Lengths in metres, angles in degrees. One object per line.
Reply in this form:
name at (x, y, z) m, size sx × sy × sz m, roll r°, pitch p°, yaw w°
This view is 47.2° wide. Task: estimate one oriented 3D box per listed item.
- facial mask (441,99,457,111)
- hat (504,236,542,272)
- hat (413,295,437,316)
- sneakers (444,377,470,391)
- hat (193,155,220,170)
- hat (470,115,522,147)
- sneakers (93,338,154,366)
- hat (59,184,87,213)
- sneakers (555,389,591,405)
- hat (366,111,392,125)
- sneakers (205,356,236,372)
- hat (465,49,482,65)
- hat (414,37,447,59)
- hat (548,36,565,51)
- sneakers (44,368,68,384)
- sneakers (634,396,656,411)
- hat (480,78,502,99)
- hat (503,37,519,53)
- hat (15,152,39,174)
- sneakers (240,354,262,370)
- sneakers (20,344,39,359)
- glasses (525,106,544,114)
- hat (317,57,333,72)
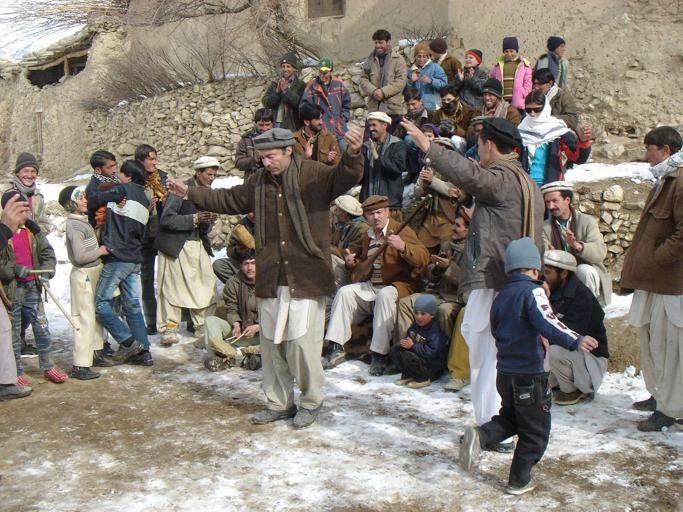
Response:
facial mask at (1.493, -2.131, 11.052) m, size 0.089 × 0.138 × 0.239 m, roll -9°, pitch 14°, yaw -40°
hat at (1.521, -0.021, 6.580) m, size 0.290 × 0.272 × 0.268 m, roll -2°, pitch 1°, yaw -34°
hat at (0.933, 0.514, 8.421) m, size 0.242 × 0.193 × 0.181 m, roll 19°, pitch 7°, yaw 39°
sneakers at (1.195, 1.325, 8.145) m, size 0.263 × 0.116 × 0.109 m, roll 1°, pitch 6°, yaw -13°
hat at (-1.699, -1.160, 9.697) m, size 0.284 × 0.142 × 0.305 m, roll -5°, pitch 6°, yaw -19°
hat at (1.414, -1.175, 7.087) m, size 0.258 × 0.091 × 0.301 m, roll 17°, pitch 22°, yaw -14°
sneakers at (-2.468, 1.104, 8.960) m, size 0.678 × 0.295 × 0.249 m, roll 6°, pitch -1°, yaw -6°
hat at (-2.942, -0.625, 8.538) m, size 0.263 × 0.298 × 0.306 m, roll -4°, pitch 11°, yaw -18°
sneakers at (2.303, 1.393, 7.857) m, size 0.387 × 0.192 × 0.143 m, roll 2°, pitch 0°, yaw -8°
hat at (0.505, -1.859, 10.466) m, size 0.459 × 0.184 × 0.495 m, roll 2°, pitch 4°, yaw 1°
sneakers at (-1.362, 1.192, 8.803) m, size 0.379 × 0.161 × 0.127 m, roll 7°, pitch -8°, yaw -35°
hat at (1.992, -3.037, 11.866) m, size 0.225 × 0.237 × 0.572 m, roll 1°, pitch 10°, yaw 8°
hat at (1.411, -3.246, 12.123) m, size 0.612 × 0.304 × 0.418 m, roll -1°, pitch 21°, yaw 4°
hat at (3.205, -3.205, 11.726) m, size 0.220 × 0.225 × 0.290 m, roll 2°, pitch 10°, yaw 11°
sneakers at (-3.042, 1.263, 8.332) m, size 0.235 × 0.108 × 0.125 m, roll 6°, pitch 21°, yaw 32°
sneakers at (2.960, 1.434, 7.629) m, size 0.180 × 0.065 × 0.112 m, roll -8°, pitch 26°, yaw 2°
hat at (1.965, -2.208, 10.176) m, size 0.230 × 0.257 × 0.443 m, roll 2°, pitch 11°, yaw 11°
hat at (2.495, -3.152, 11.552) m, size 0.216 × 0.221 × 0.388 m, roll 1°, pitch 10°, yaw 7°
hat at (-3.526, -1.049, 8.685) m, size 0.247 × 0.250 × 0.253 m, roll 12°, pitch 2°, yaw 6°
sneakers at (-1.009, 1.167, 8.739) m, size 0.092 × 0.262 × 0.254 m, roll -3°, pitch -13°, yaw -45°
sneakers at (-3.737, 1.124, 9.331) m, size 0.229 × 0.143 × 0.167 m, roll 0°, pitch 0°, yaw 8°
glasses at (2.378, -1.819, 9.647) m, size 0.201 × 0.089 × 0.158 m, roll 2°, pitch 11°, yaw 13°
hat at (-0.252, -2.817, 11.522) m, size 0.195 × 0.156 × 0.307 m, roll 4°, pitch 46°, yaw 7°
